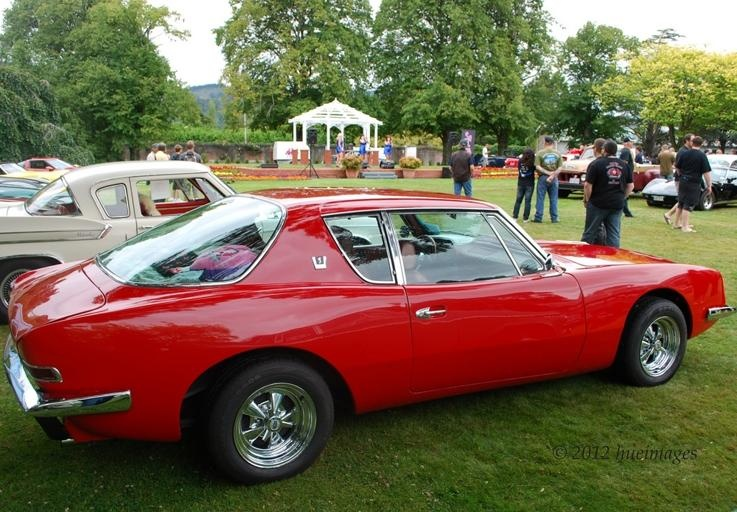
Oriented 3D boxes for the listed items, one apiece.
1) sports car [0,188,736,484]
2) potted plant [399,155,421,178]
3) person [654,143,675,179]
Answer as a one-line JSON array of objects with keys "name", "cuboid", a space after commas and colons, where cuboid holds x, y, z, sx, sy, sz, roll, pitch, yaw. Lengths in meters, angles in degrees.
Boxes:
[{"name": "sports car", "cuboid": [-0.086, 0.475, 4.160, 5.158, 1.929, 1.093, -6, 15, -21]}, {"name": "potted plant", "cuboid": [2.434, -5.280, 30.625, 1.334, 1.201, 1.307, 8, 12, 36]}, {"name": "person", "cuboid": [9.678, -3.004, 16.447, 0.325, 1.012, 0.546, -27, 21, -30]}]
